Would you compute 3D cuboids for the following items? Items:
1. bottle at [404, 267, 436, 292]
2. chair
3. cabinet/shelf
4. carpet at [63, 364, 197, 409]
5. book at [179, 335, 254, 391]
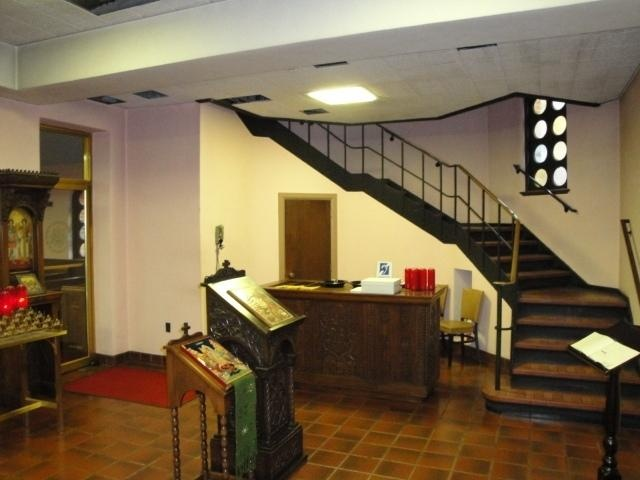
[{"bbox_3d":[1.348,0.501,7.020,0.311,0.268,0.314,4,5,32],"label":"bottle"},{"bbox_3d":[2.135,1.337,8.232,0.735,1.098,0.727,1,1,1],"label":"chair"},{"bbox_3d":[0.434,1.323,7.229,2.289,1.401,0.912,0,3,24],"label":"cabinet/shelf"},{"bbox_3d":[-2.685,1.978,7.323,1.455,0.016,1.256,16,5,9],"label":"carpet"},{"bbox_3d":[-0.915,1.091,4.704,0.500,0.355,0.428,4,10,25],"label":"book"}]
